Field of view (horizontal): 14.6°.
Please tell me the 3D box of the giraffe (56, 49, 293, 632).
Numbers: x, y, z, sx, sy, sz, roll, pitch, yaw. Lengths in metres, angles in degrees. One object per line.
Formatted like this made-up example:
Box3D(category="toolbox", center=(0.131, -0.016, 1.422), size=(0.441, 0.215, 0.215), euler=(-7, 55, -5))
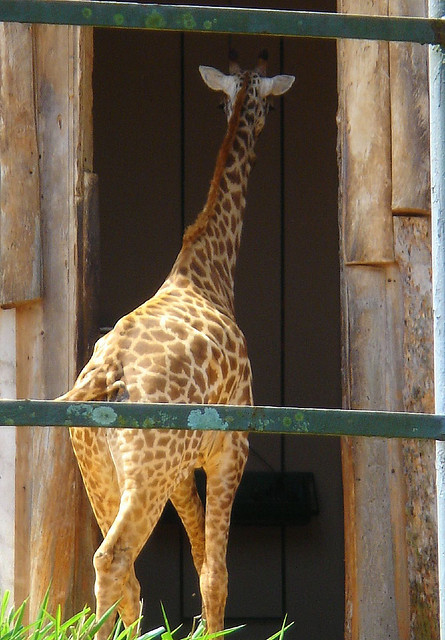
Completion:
Box3D(category="giraffe", center=(-0.169, 0.010, 5.483), size=(0.591, 1.813, 1.901), euler=(2, 0, 8))
